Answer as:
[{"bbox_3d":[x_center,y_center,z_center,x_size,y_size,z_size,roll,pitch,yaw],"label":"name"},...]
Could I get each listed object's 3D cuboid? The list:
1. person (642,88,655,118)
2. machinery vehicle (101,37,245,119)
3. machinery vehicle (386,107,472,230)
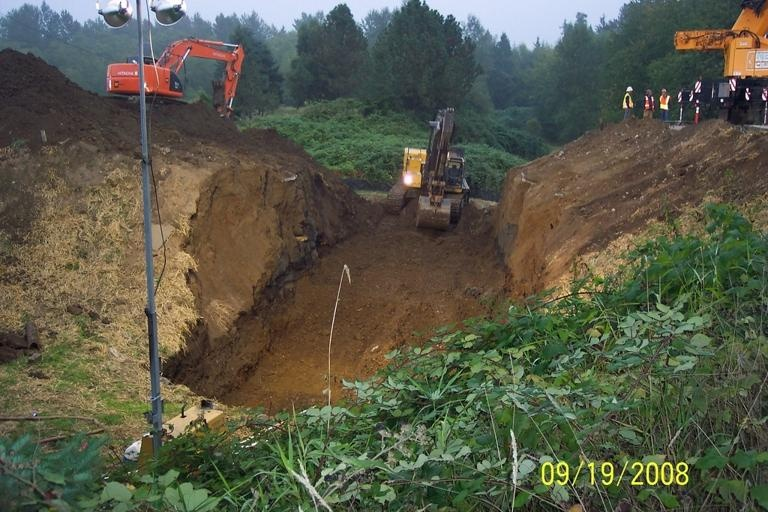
[{"bbox_3d":[10.674,-6.217,28.032,0.310,1.230,2.850,4,10,21],"label":"person"},{"bbox_3d":[-7.410,-6.721,25.254,4.751,2.719,1.391,1,13,-31],"label":"machinery vehicle"},{"bbox_3d":[2.175,-3.328,27.012,2.543,3.462,5.449,0,17,0],"label":"machinery vehicle"}]
